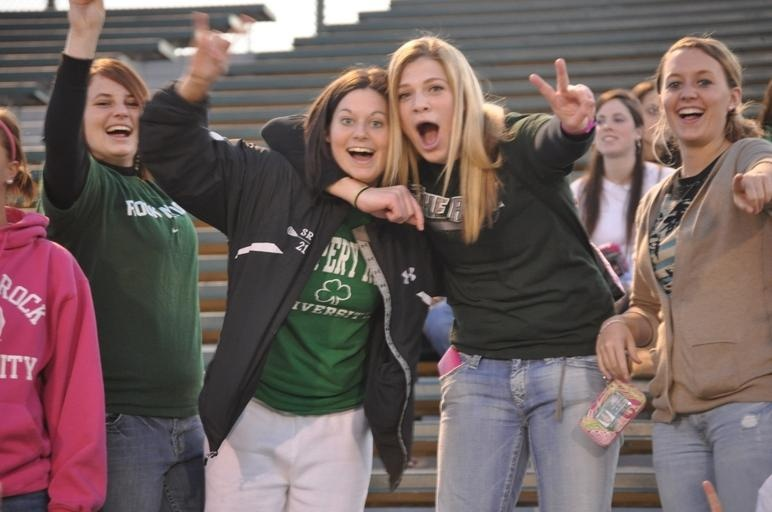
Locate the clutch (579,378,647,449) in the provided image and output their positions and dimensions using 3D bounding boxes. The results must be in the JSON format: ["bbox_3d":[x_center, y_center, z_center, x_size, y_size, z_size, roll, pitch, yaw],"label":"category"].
[{"bbox_3d":[1.236,0.867,7.792,0.330,0.348,0.115,-2,-7,15],"label":"clutch"}]
